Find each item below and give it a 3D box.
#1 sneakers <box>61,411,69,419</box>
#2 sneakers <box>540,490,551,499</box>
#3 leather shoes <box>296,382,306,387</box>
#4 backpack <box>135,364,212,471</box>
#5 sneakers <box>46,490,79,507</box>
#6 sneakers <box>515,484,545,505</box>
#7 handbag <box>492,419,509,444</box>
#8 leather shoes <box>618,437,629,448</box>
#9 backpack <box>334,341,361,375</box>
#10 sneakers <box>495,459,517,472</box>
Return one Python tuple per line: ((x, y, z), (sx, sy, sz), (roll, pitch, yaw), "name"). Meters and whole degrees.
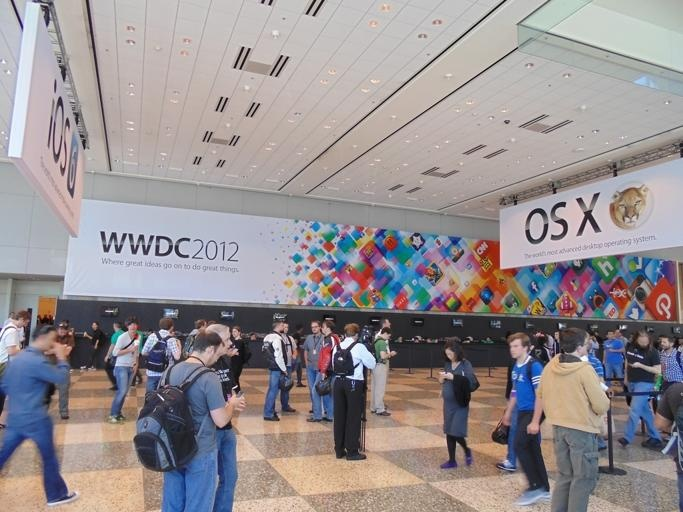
((-4.943, 2.867, 8.030), (0.178, 0.133, 0.070), (-2, -6, 7), "sneakers")
((2.394, 2.810, 5.250), (0.141, 0.048, 0.103), (1, -4, -10), "sneakers")
((-1.151, 3.676, 12.806), (0.312, 0.191, 0.107), (0, -10, -2), "leather shoes")
((-1.289, 1.293, 3.585), (0.405, 0.677, 0.695), (-2, 4, 18), "backpack")
((-3.000, 2.640, 4.856), (0.261, 0.117, 0.098), (-1, -1, -23), "sneakers")
((2.216, 2.755, 5.195), (0.434, 0.194, 0.151), (1, -31, -24), "sneakers")
((2.121, 2.330, 5.939), (0.208, 0.326, 0.351), (-1, -6, 20), "handbag")
((4.644, 3.058, 7.392), (0.108, 0.103, 0.164), (-11, 11, 2), "leather shoes")
((0.038, 1.495, 6.335), (0.287, 0.424, 0.438), (-6, -15, 20), "backpack")
((2.273, 2.896, 6.168), (0.266, 0.129, 0.105), (0, -9, 39), "sneakers")
